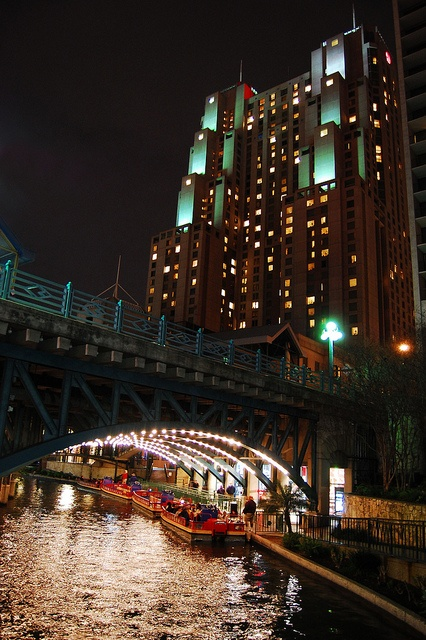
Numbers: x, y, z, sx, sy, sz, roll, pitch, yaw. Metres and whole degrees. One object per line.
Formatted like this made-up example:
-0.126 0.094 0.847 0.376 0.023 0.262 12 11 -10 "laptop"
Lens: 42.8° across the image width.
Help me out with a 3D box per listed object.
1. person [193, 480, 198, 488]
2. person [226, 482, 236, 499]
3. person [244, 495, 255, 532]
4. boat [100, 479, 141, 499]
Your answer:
-1.429 14.229 46.960 0.523 0.470 1.474 6 -17 -1 "person"
1.318 12.199 38.968 0.584 0.800 1.735 4 -17 4 "person"
1.900 10.034 28.293 0.641 1.501 1.184 4 -16 4 "person"
-7.928 15.095 47.502 1.757 1.650 6.468 12 -17 -22 "boat"
